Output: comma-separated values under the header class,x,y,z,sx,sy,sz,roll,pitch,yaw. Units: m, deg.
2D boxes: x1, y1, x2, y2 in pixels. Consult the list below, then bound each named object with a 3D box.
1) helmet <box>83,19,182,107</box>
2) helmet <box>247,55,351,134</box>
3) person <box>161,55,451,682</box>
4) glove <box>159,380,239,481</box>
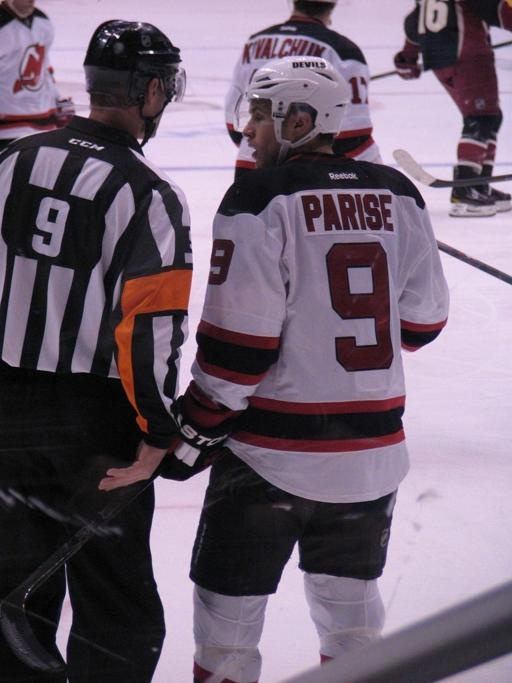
class,x,y,z,sx,sy,sz,roll,pitch,yaw
helmet,-0.201,-0.443,1.229,0.186,0.132,0.137,-13,25,-42
helmet,0.080,-0.422,1.335,0.191,0.116,0.124,2,0,3
person,0.140,0.138,1.289,0.510,0.891,0.288,-4,18,-27
glove,-0.094,0.147,1.268,0.088,0.149,0.109,-13,61,-41
